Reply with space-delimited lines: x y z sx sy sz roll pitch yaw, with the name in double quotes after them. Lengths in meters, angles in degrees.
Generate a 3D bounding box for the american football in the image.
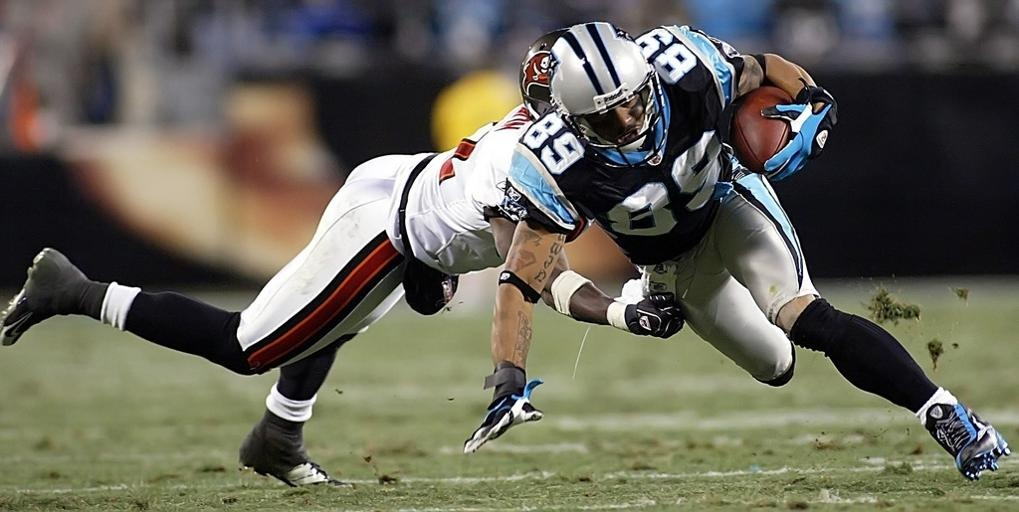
1.994 -1.012 10.097 0.322 0.813 0.338 1 0 -1 "american football"

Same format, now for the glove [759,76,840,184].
2.312 -1.006 10.083 0.383 0.926 0.413 3 1 15 "glove"
